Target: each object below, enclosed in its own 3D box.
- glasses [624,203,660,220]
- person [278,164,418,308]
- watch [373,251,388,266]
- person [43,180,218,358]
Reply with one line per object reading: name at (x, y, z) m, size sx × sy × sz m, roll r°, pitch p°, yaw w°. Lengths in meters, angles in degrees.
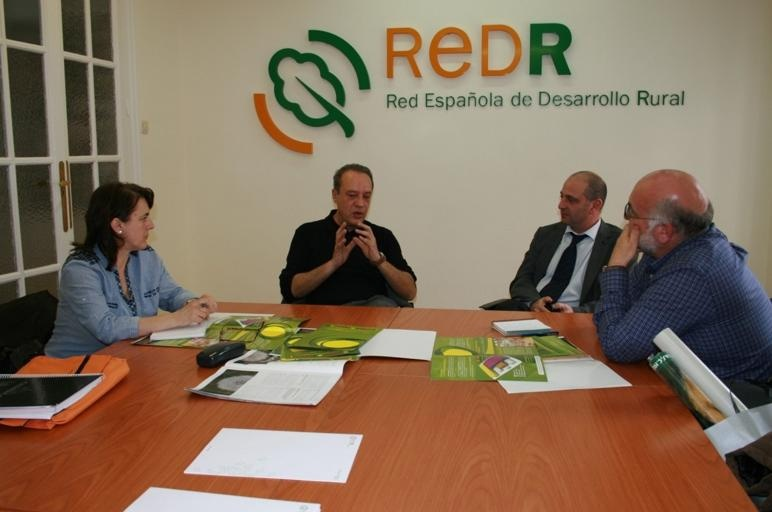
glasses at (1.132, -0.196, 2.150) m, size 0.084 × 0.026 × 0.082 m, roll 9°, pitch 14°, yaw 1°
person at (-0.238, -0.126, 3.115) m, size 0.858 × 0.858 × 0.531 m, roll 2°, pitch 18°, yaw 7°
watch at (-0.033, 0.010, 3.043) m, size 0.076 × 0.077 × 0.080 m, roll 6°, pitch -6°, yaw -27°
person at (-1.328, -0.001, 2.648) m, size 0.937 × 1.009 × 0.755 m, roll 6°, pitch 12°, yaw 8°
